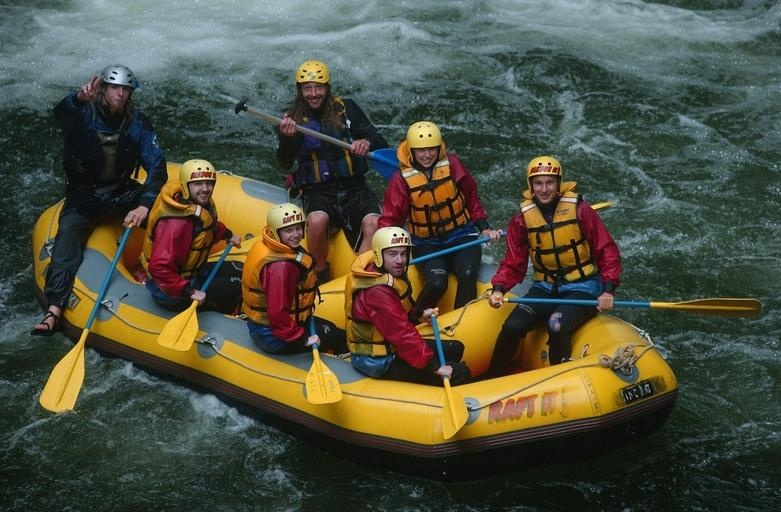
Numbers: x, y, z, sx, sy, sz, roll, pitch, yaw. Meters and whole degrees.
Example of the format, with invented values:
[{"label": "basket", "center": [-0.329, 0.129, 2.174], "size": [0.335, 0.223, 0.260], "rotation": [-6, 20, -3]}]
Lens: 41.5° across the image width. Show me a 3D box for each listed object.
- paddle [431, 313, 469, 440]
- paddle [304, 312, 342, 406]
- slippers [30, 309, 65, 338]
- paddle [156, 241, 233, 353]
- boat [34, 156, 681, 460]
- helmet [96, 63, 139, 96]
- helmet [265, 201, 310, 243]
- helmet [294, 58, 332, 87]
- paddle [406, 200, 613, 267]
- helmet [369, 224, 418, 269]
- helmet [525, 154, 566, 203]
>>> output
[{"label": "paddle", "center": [0.522, 1.105, 9.190], "size": [0.240, 0.153, 1.044], "rotation": [-8, 52, -2]}, {"label": "paddle", "center": [-0.643, 1.027, 9.369], "size": [0.239, 0.091, 0.676], "rotation": [-9, 37, -8]}, {"label": "slippers", "center": [-3.354, 0.646, 10.074], "size": [0.152, 0.156, 0.439], "rotation": [21, 5, 0]}, {"label": "paddle", "center": [-1.807, 0.397, 9.886], "size": [0.268, 1.230, 0.057], "rotation": [30, -16, 1]}, {"label": "boat", "center": [-0.671, 0.895, 9.828], "size": [5.840, 1.158, 2.728], "rotation": [17, 46, 20]}, {"label": "helmet", "center": [-2.689, -1.762, 10.145], "size": [0.313, 0.152, 0.394], "rotation": [20, -3, -42]}, {"label": "helmet", "center": [-0.945, -0.349, 9.593], "size": [0.364, 0.353, 0.288], "rotation": [-24, 3, 20]}, {"label": "helmet", "center": [-0.796, -1.868, 10.645], "size": [0.312, 0.295, 0.365], "rotation": [0, 38, 5]}, {"label": "paddle", "center": [1.116, -0.206, 9.918], "size": [1.569, 0.168, 0.080], "rotation": [-23, 40, -2]}, {"label": "helmet", "center": [0.021, -0.098, 9.359], "size": [0.315, 0.298, 0.385], "rotation": [-3, 10, -31]}, {"label": "helmet", "center": [1.439, -0.715, 9.736], "size": [0.343, 0.397, 0.422], "rotation": [-6, 3, 11]}]
